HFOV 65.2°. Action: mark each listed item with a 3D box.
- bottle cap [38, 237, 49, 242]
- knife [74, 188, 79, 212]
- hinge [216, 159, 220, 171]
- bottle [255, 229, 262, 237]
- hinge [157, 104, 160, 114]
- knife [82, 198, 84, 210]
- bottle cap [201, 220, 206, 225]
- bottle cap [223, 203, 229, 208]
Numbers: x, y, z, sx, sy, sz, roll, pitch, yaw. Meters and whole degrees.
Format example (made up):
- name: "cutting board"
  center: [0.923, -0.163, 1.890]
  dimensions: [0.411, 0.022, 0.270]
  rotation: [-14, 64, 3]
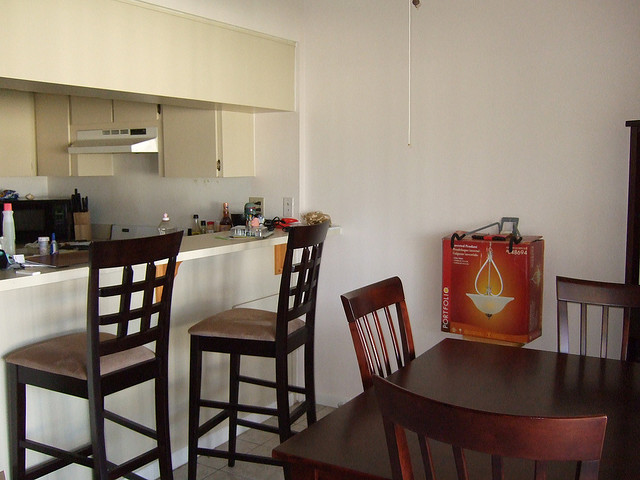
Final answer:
- name: "bottle cap"
  center: [-1.655, -0.011, 3.004]
  dimensions: [0.025, 0.021, 0.027]
  rotation: [6, 8, 25]
- name: "knife"
  center: [-2.396, -0.402, 4.931]
  dimensions: [0.029, 0.224, 0.216]
  rotation: [-5, 8, -25]
- name: "hinge"
  center: [-0.748, -0.552, 3.684]
  dimensions: [0.006, 0.077, 0.027]
  rotation: [4, 9, 40]
- name: "bottle"
  center: [-0.419, -0.055, 3.411]
  dimensions: [0.050, 0.055, 0.039]
  rotation: [0, -3, 8]
- name: "hinge"
  center: [-1.238, -1.010, 3.848]
  dimensions: [0.025, 0.062, 0.004]
  rotation: [2, 8, 29]
- name: "knife"
  center: [-2.309, -0.361, 4.894]
  dimensions: [0.017, 0.107, 0.024]
  rotation: [-6, 8, -29]
- name: "bottle cap"
  center: [-0.971, -0.152, 4.169]
  dimensions: [0.031, 0.034, 0.023]
  rotation: [0, -1, 21]
- name: "bottle cap"
  center: [-0.766, -0.288, 4.067]
  dimensions: [0.030, 0.036, 0.031]
  rotation: [0, 7, -3]
